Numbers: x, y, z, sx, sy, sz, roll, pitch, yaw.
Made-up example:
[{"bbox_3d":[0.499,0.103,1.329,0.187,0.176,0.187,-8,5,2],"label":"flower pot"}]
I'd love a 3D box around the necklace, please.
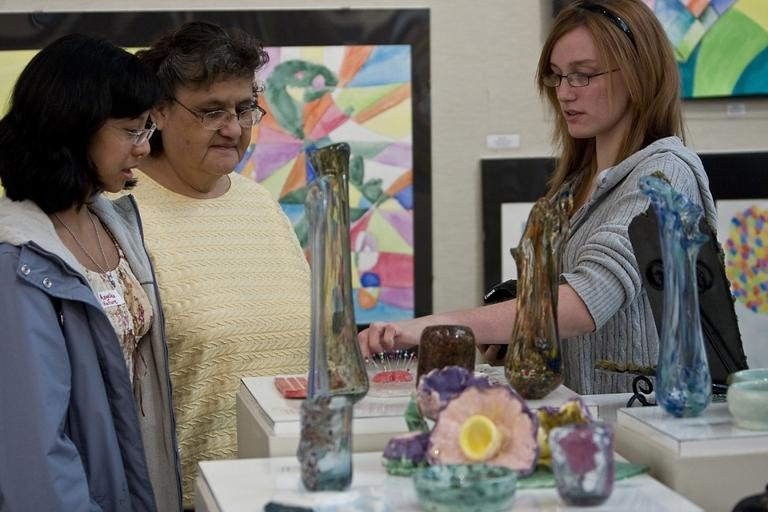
[{"bbox_3d":[-0.866,-0.021,2.392,0.053,0.203,0.115,-17,14,40],"label":"necklace"}]

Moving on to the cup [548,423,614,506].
[{"bbox_3d":[0.396,0.420,1.725,0.147,0.194,0.147,-5,-2,0],"label":"cup"}]

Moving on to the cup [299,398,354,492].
[{"bbox_3d":[-0.117,0.381,1.689,0.117,0.190,0.075,-4,6,-5],"label":"cup"}]

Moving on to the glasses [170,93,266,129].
[{"bbox_3d":[-0.508,-0.470,2.741,0.343,0.111,0.119,-9,8,-44],"label":"glasses"}]
